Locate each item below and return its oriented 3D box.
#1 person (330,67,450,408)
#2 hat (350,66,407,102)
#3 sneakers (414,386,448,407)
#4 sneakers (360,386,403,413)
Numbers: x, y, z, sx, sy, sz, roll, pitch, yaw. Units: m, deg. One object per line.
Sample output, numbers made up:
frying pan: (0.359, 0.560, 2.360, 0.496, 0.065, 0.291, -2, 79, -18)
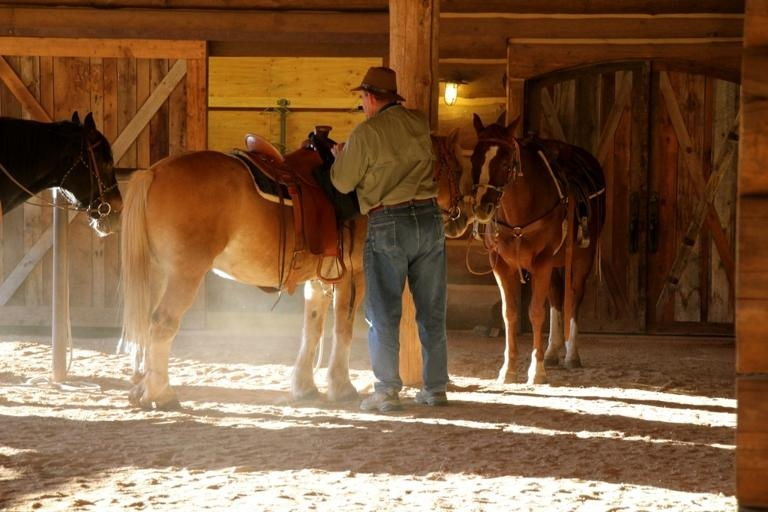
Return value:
person: (0.102, -0.125, 9.786, 1.198, 2.466, 0.429, 4, -1, -31)
hat: (-0.065, -1.574, 9.803, 0.372, 0.199, 0.338, 21, 14, -1)
sneakers: (0.424, 1.308, 10.112, 0.130, 0.149, 0.321, 0, 3, -24)
sneakers: (-0.029, 1.327, 9.901, 0.169, 0.178, 0.405, 5, -5, -35)
